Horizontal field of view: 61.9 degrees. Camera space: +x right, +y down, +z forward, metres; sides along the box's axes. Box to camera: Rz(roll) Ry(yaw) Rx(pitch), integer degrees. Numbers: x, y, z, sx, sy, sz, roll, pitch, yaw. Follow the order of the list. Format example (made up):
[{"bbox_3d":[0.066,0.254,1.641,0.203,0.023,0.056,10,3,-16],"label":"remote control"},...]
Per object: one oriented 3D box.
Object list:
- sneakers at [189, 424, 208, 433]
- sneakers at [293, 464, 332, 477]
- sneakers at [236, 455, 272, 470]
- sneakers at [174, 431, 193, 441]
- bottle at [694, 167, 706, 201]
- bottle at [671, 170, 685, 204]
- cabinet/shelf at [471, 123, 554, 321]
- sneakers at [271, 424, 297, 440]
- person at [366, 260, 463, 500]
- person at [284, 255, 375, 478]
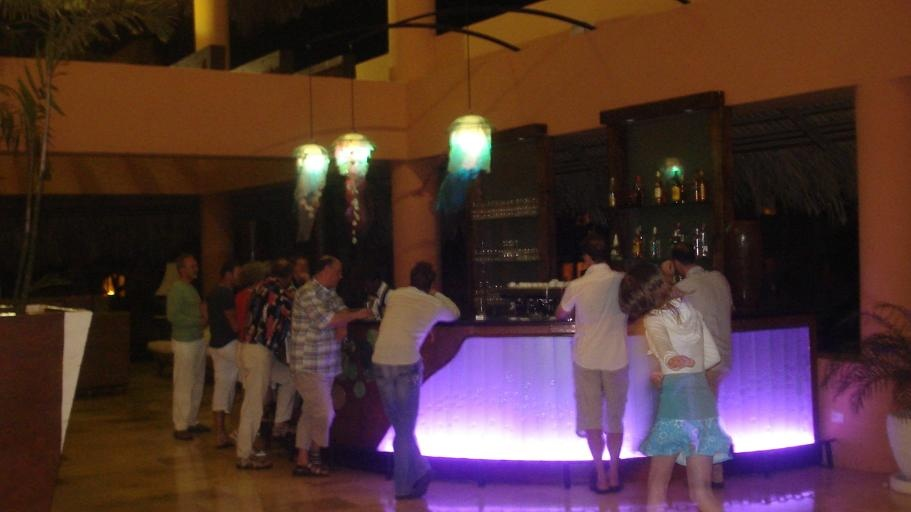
[{"bbox_3d":[-3.465,2.351,10.255,0.264,0.102,0.096,-1,2,-9],"label":"sneakers"},{"bbox_3d":[-1.659,2.471,8.743,0.372,0.110,0.158,0,2,1],"label":"sneakers"},{"bbox_3d":[-2.356,2.434,8.955,0.454,0.192,0.166,-1,3,-4],"label":"sneakers"},{"bbox_3d":[-3.592,2.378,10.003,0.221,0.090,0.113,0,0,15],"label":"sneakers"},{"bbox_3d":[3.004,-0.870,9.329,0.140,0.396,0.079,-1,-2,37],"label":"bottle"},{"bbox_3d":[2.769,-0.868,9.479,0.139,0.440,0.130,0,-2,0],"label":"bottle"},{"bbox_3d":[0.744,-0.494,10.702,1.340,2.611,0.435,-1,-2,44],"label":"cabinet/shelf"},{"bbox_3d":[-2.097,2.157,9.256,0.198,0.193,0.257,-3,-18,13],"label":"sneakers"},{"bbox_3d":[-0.481,1.340,8.138,0.814,2.539,0.273,0,-2,-11],"label":"person"},{"bbox_3d":[-1.540,1.266,8.517,0.784,2.504,0.448,-1,-2,42],"label":"person"}]
